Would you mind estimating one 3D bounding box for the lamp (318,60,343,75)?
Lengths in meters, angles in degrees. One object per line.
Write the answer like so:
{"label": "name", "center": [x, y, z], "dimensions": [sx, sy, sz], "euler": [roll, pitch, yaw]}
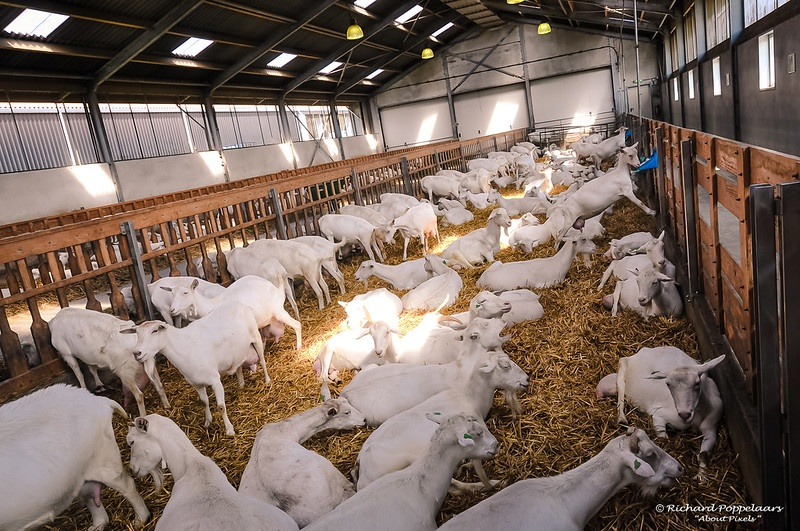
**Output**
{"label": "lamp", "center": [-3.729, -10.793, 25.444], "dimensions": [1.203, 0.320, 1.059], "euler": [-21, 0, -44]}
